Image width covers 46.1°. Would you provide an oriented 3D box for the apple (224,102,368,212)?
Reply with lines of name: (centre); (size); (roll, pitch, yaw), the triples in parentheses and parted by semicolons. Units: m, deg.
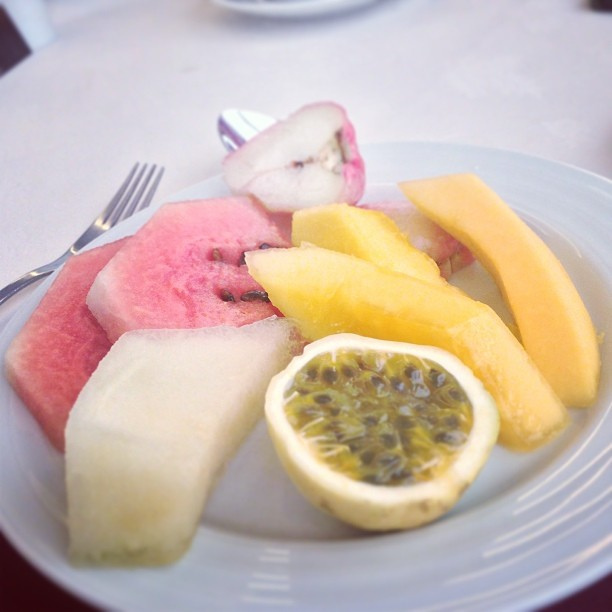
apple: (-0.009, -0.208, 1.046); (0.264, 0.083, 0.149); (2, 76, 1)
